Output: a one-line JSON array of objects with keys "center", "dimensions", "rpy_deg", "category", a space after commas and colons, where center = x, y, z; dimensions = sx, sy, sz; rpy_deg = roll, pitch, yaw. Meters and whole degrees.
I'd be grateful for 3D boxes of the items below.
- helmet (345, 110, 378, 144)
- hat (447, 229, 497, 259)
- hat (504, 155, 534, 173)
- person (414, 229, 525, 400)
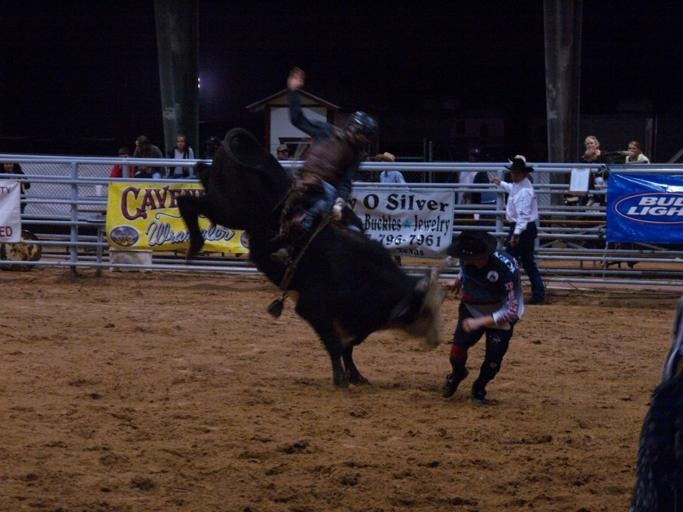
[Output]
[{"center": [0.215, -1.407, 9.159], "dimensions": [0.481, 0.335, 0.324], "rpy_deg": [-2, 12, 11], "category": "helmet"}, {"center": [1.273, -0.111, 8.431], "dimensions": [0.369, 0.111, 0.344], "rpy_deg": [17, 47, 39], "category": "hat"}, {"center": [2.597, -1.391, 12.439], "dimensions": [0.570, 0.227, 0.680], "rpy_deg": [7, 5, 14], "category": "hat"}, {"center": [1.430, 0.614, 8.624], "dimensions": [0.782, 1.746, 0.524], "rpy_deg": [2, 5, 16], "category": "person"}]
